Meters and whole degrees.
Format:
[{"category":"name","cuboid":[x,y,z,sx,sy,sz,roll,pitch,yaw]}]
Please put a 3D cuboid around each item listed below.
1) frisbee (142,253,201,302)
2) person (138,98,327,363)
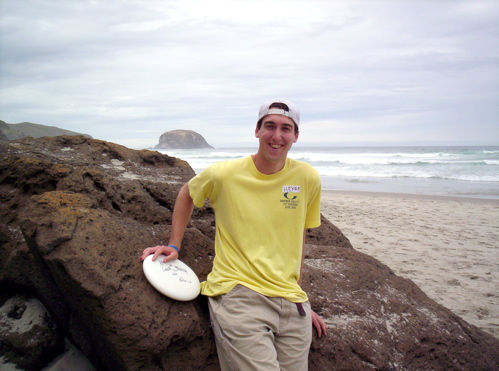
[{"category":"frisbee","cuboid":[-0.714,0.824,3.107,0.493,0.394,0.306,-3,10,-14]},{"category":"person","cuboid":[-0.052,0.369,2.964,1.335,2.210,0.954,1,10,8]}]
